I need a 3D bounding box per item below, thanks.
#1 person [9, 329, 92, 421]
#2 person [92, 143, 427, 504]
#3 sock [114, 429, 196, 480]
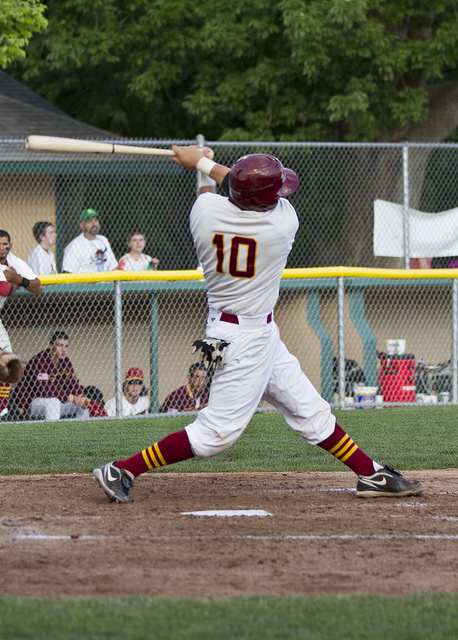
[{"bbox_3d":[-1.451,0.451,8.524,0.444,0.705,0.405,-31,-41,30],"label":"person"},{"bbox_3d":[0.103,0.079,4.795,1.450,1.646,0.447,-1,6,-8],"label":"person"},{"bbox_3d":[-0.341,0.616,4.879,0.384,0.239,0.105,2,6,23],"label":"sock"}]
